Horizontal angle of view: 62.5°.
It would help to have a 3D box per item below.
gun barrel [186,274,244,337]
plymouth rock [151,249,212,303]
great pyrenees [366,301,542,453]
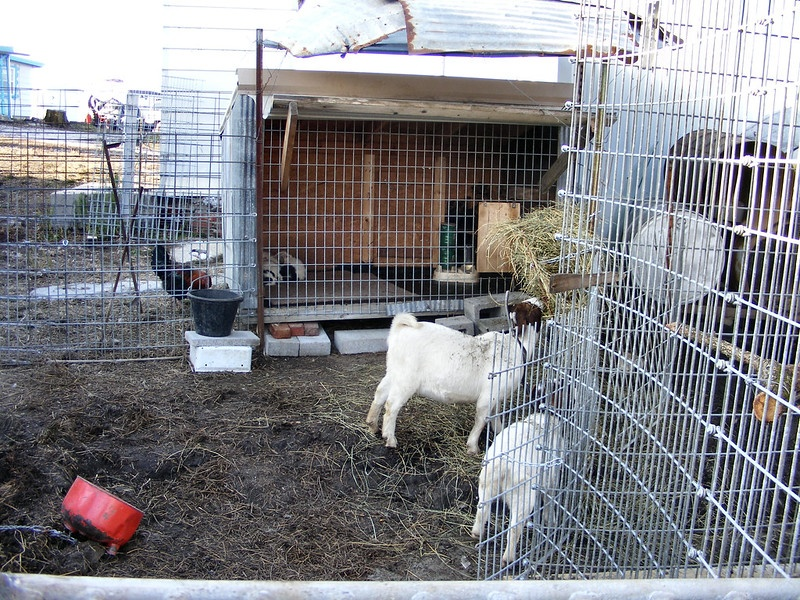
[{"bbox_3d":[-1.900,0.048,6.835,0.450,0.554,0.458,3,17,-23],"label":"gun barrel"},{"bbox_3d":[-2.549,-0.308,7.505,0.659,0.641,0.678,-5,27,-45],"label":"plymouth rock"},{"bbox_3d":[0.531,0.553,5.294,1.507,1.361,0.569,2,15,5],"label":"great pyrenees"}]
